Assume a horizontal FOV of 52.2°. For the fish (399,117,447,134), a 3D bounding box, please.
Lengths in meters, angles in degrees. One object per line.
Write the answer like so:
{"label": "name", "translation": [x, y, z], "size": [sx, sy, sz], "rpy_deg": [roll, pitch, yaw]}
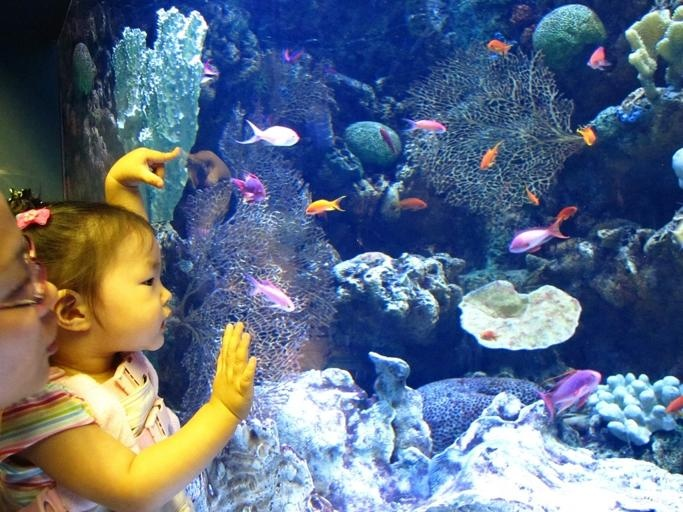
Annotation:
{"label": "fish", "translation": [1.046, -1.632, 8.826], "size": [0.631, 0.252, 0.151], "rpy_deg": [8, 71, -8]}

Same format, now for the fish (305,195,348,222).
{"label": "fish", "translation": [-0.180, -0.560, 8.260], "size": [0.556, 0.252, 0.117], "rpy_deg": [-12, 41, -5]}

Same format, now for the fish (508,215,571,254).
{"label": "fish", "translation": [2.116, -0.188, 7.534], "size": [0.486, 0.479, 0.299], "rpy_deg": [-17, 48, -37]}

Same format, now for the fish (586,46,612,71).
{"label": "fish", "translation": [3.075, -2.347, 8.368], "size": [0.280, 0.155, 0.348], "rpy_deg": [-3, 60, -11]}

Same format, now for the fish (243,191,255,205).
{"label": "fish", "translation": [-0.959, -0.602, 7.263], "size": [0.107, 0.108, 0.037], "rpy_deg": [31, 61, -32]}

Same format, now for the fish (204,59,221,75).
{"label": "fish", "translation": [-1.553, -2.214, 8.318], "size": [0.166, 0.164, 0.166], "rpy_deg": [11, 43, -48]}

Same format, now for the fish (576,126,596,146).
{"label": "fish", "translation": [2.949, -1.426, 8.388], "size": [0.200, 0.089, 0.202], "rpy_deg": [42, 0, -3]}

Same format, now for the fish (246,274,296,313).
{"label": "fish", "translation": [-0.744, 0.390, 7.065], "size": [0.473, 0.189, 0.131], "rpy_deg": [34, 40, 16]}

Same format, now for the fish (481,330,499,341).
{"label": "fish", "translation": [1.681, 0.907, 7.957], "size": [0.184, 0.074, 0.121], "rpy_deg": [19, 37, 2]}

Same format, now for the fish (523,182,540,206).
{"label": "fish", "translation": [2.405, -0.797, 8.814], "size": [0.094, 0.160, 0.333], "rpy_deg": [4, 57, -33]}
